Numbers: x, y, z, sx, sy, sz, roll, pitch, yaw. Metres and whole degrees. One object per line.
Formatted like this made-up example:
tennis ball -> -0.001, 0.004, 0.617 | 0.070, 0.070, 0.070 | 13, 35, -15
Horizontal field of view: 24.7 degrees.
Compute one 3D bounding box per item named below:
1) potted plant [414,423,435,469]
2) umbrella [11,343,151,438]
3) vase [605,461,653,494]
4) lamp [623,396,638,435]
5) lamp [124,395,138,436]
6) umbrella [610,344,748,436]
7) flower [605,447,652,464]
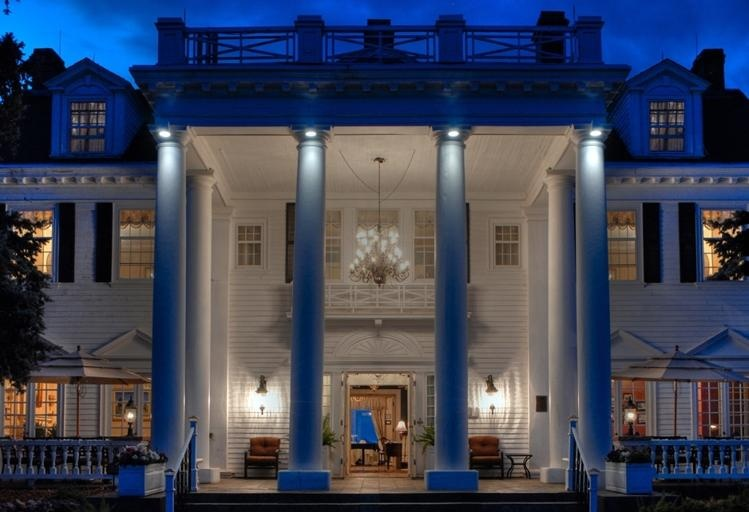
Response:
potted plant -> 1.397, 5.321, 48.314 | 0.526, 1.371, 0.917 | 1, -11, -8
umbrella -> -8.415, 3.434, 47.455 | 3.153, 2.139, 3.065 | 4, -12, -13
vase -> 6.355, 5.356, 43.081 | 0.749, 0.791, 1.310 | 1, -6, -13
lamp -> 7.072, 4.476, 47.664 | 0.593, 1.044, 0.581 | -1, -3, 23
lamp -> -6.843, 4.522, 47.993 | 0.349, 1.088, 1.306 | 1, -11, -8
umbrella -> 8.425, 3.751, 46.805 | 3.746, 2.256, 3.752 | -2, -11, 7
flower -> 6.350, 5.037, 43.156 | 1.123, 0.436, 0.577 | -11, -15, 43
